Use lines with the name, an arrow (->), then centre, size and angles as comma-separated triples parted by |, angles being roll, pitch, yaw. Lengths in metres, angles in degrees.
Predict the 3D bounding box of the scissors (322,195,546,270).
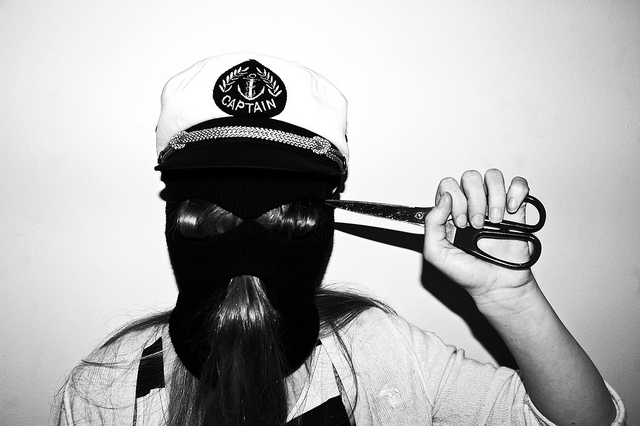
scissors -> 0.388, 0.068, 2.397 | 0.745, 0.302, 0.037 | 9, 17, 13
